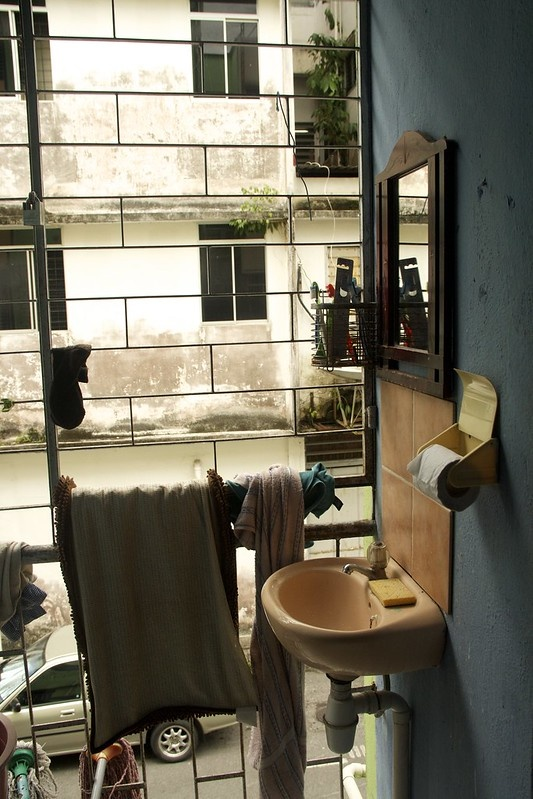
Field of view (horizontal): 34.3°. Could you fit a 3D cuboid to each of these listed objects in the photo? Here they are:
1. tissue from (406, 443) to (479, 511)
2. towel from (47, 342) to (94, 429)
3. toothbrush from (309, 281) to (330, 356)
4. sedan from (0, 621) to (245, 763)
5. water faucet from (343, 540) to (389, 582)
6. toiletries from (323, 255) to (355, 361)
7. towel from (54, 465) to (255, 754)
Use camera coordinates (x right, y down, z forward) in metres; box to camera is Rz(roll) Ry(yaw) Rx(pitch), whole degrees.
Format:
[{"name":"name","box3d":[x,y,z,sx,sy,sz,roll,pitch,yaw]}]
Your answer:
[{"name":"tissue","box3d":[0.355,0.149,1.769,0.099,0.141,0.129,6,14,-16]},{"name":"towel","box3d":[-0.547,-0.038,2.425,0.088,0.236,0.318,-8,-25,-11]},{"name":"toothbrush","box3d":[0.149,-0.226,2.360,0.040,0.198,0.033,-12,21,-18]},{"name":"sedan","box3d":[-0.522,1.194,3.839,1.237,0.654,0.642,0,-4,-14]},{"name":"water faucet","box3d":[0.258,0.420,2.215,0.129,0.133,0.061,2,-2,-24]},{"name":"toiletries","box3d":[0.211,-0.250,2.374,0.056,0.027,0.377,2,54,3]},{"name":"towel","box3d":[-0.271,0.536,2.276,0.475,0.905,0.144,-3,28,-6]}]
